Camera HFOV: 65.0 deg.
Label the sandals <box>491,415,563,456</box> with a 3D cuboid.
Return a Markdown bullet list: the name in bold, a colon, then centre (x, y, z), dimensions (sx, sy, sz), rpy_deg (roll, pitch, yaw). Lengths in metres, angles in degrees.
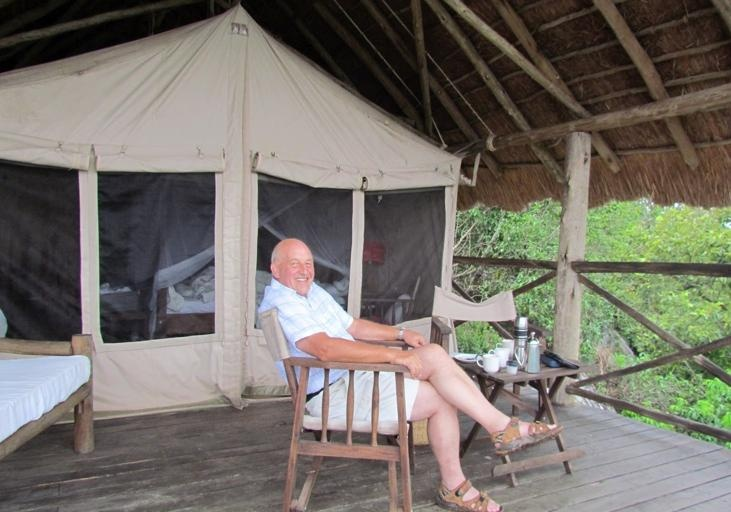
- **sandals**: centre (0.947, 1.067, 3.429), dimensions (0.513, 0.197, 0.158), rpy_deg (1, 0, -7)

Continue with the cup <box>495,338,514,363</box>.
- **cup**: centre (1.017, 0.676, 4.097), dimensions (0.114, 0.193, 0.186), rpy_deg (0, -4, -1)

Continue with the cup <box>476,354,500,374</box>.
- **cup**: centre (0.852, 0.746, 3.984), dimensions (0.154, 0.117, 0.104), rpy_deg (-2, -2, -4)

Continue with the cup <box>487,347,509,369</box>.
- **cup**: centre (0.919, 0.704, 3.983), dimensions (0.159, 0.151, 0.107), rpy_deg (0, 0, 6)

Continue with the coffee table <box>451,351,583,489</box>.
- **coffee table**: centre (1.067, 1.095, 4.224), dimensions (0.908, 0.721, 0.770), rpy_deg (-1, 5, -15)
